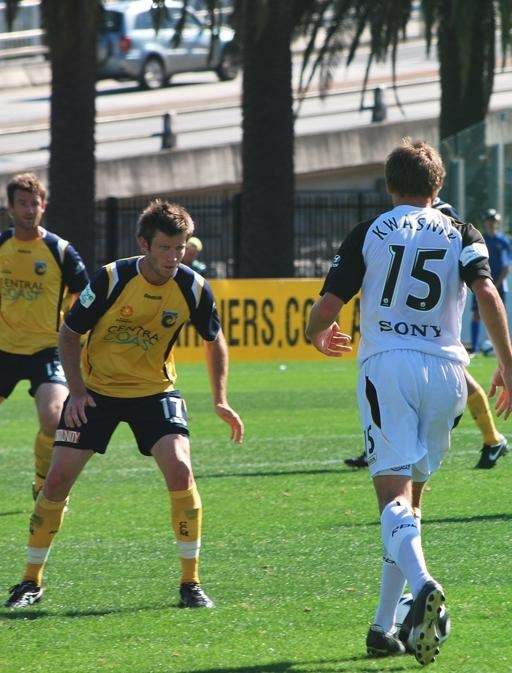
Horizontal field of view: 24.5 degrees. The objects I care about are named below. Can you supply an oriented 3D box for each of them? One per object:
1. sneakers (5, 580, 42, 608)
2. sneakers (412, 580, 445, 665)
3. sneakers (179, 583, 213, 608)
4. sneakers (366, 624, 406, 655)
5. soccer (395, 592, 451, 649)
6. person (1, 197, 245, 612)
[{"bbox_3d":[-0.987,1.089,4.992,0.141,0.092,0.193,-2,5,-4],"label":"sneakers"},{"bbox_3d":[0.560,0.941,3.892,0.104,0.264,0.131,-1,8,-16],"label":"sneakers"},{"bbox_3d":[-0.259,1.084,4.975,0.166,0.090,0.095,0,6,12],"label":"sneakers"},{"bbox_3d":[0.457,1.103,4.315,0.195,0.092,0.069,26,-16,-38],"label":"sneakers"},{"bbox_3d":[0.565,0.977,4.180,0.124,0.323,0.140,-8,44,-12],"label":"soccer"},{"bbox_3d":[-0.566,0.382,5.091,0.996,1.480,0.491,-2,6,-2],"label":"person"}]
